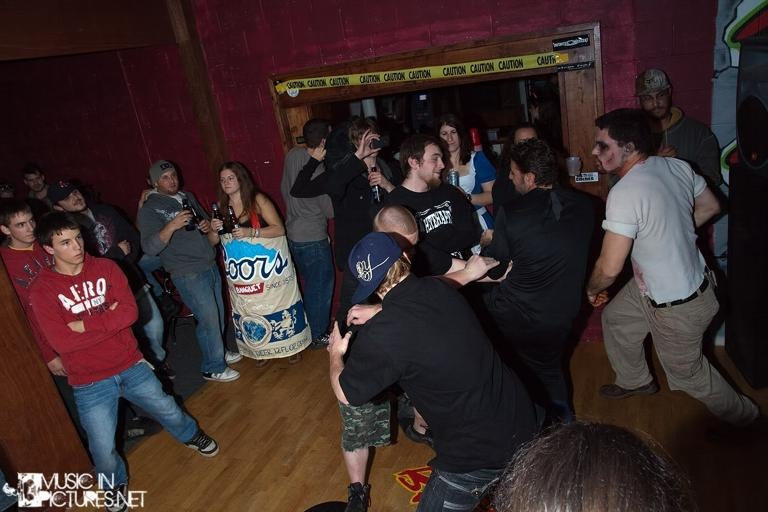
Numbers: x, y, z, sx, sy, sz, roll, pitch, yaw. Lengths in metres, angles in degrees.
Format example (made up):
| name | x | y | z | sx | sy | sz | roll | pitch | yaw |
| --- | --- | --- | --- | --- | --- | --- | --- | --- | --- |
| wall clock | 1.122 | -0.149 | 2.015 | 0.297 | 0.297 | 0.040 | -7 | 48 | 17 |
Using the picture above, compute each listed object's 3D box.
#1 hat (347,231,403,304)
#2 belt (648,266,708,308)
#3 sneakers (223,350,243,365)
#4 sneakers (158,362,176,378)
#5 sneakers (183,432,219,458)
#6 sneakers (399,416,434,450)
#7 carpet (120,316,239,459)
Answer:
| name | x | y | z | sx | sy | sz | roll | pitch | yaw |
| --- | --- | --- | --- | --- | --- | --- | --- | --- | --- |
| hat | -0.082 | 0.035 | 3.055 | 0.282 | 0.248 | 0.457 | 5 | 56 | 57 |
| belt | 2.263 | 0.256 | 3.802 | 0.341 | 0.089 | 0.333 | -29 | 50 | 23 |
| sneakers | -1.757 | 1.184 | 5.846 | 0.181 | 0.078 | 0.103 | -3 | 45 | -1 |
| sneakers | -2.503 | 1.327 | 5.787 | 0.184 | 0.091 | 0.134 | 23 | 29 | 17 |
| sneakers | -1.641 | 1.732 | 4.650 | 0.365 | 0.161 | 0.162 | 12 | 43 | 15 |
| sneakers | 0.267 | 1.523 | 4.347 | 0.148 | 0.390 | 0.134 | -45 | 12 | 29 |
| carpet | -2.365 | 1.796 | 5.971 | 0.814 | 0.060 | 2.415 | -4 | 27 | -2 |
